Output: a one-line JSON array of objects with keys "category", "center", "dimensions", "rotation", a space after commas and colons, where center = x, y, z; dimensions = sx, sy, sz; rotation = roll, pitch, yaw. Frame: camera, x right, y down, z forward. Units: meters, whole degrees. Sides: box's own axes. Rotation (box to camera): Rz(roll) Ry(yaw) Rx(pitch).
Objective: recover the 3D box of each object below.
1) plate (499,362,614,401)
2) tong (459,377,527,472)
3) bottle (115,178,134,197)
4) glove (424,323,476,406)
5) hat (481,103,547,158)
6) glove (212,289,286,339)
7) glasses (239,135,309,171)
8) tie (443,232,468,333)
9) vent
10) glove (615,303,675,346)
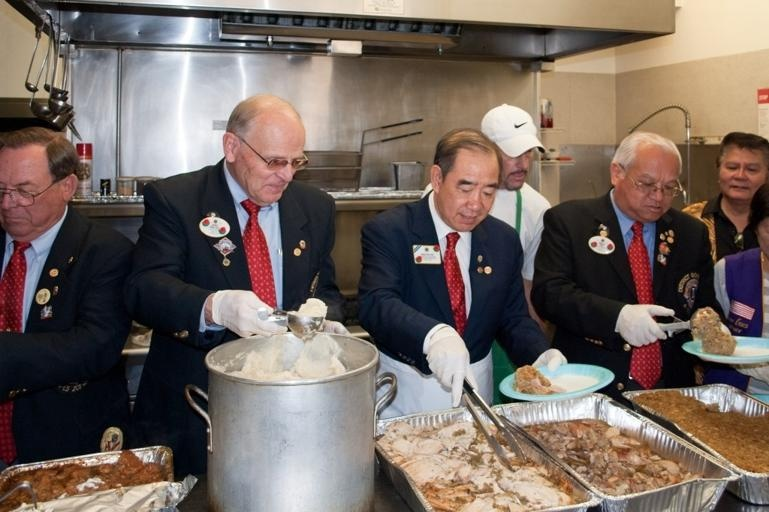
[{"category": "plate", "center": [0.730, 0.540, 2.694], "dimensions": [0.501, 0.084, 0.251], "rotation": [-4, 11, -24]}, {"category": "tong", "center": [0.409, 0.649, 2.399], "dimensions": [0.112, 0.054, 0.493], "rotation": [-35, 51, 4]}, {"category": "bottle", "center": [-1.925, -0.511, 4.737], "dimensions": [0.158, 0.153, 0.160], "rotation": [1, -2, -1]}, {"category": "glove", "center": [0.305, 0.456, 2.598], "dimensions": [0.179, 0.327, 0.097], "rotation": [-38, -38, 22]}, {"category": "hat", "center": [0.785, -0.783, 4.045], "dimensions": [0.292, 0.236, 0.446], "rotation": [-15, 33, -27]}, {"category": "glove", "center": [-0.533, 0.199, 2.491], "dimensions": [0.244, 0.111, 0.186], "rotation": [17, 12, 27]}, {"category": "glasses", "center": [-0.455, -0.460, 2.776], "dimensions": [0.188, 0.056, 0.182], "rotation": [48, 29, 22]}, {"category": "tie", "center": [0.344, 0.114, 3.064], "dimensions": [0.082, 0.568, 0.088], "rotation": [0, -9, -9]}, {"category": "vent", "center": [-0.300, -1.670, 4.655], "dimensions": [1.778, 0.155, 0.648], "rotation": [-2, 10, -15]}, {"category": "glove", "center": [1.250, 0.334, 3.002], "dimensions": [0.243, 0.186, 0.106], "rotation": [2, 14, 24]}]
